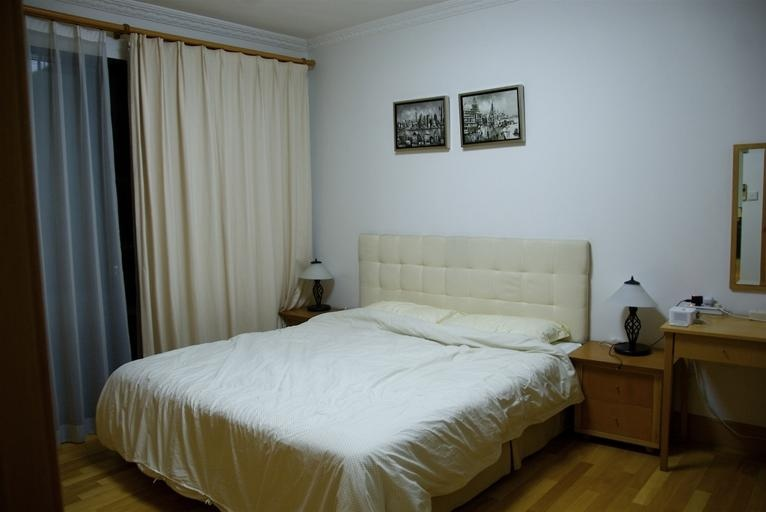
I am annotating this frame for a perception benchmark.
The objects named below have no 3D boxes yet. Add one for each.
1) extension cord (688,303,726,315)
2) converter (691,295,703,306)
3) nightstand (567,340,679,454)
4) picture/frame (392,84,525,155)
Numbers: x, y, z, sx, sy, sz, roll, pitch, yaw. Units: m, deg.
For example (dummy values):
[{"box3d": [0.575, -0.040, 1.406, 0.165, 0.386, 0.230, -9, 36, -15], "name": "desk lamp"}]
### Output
[{"box3d": [2.246, 0.370, 3.847, 0.263, 0.062, 0.118, -2, 8, -7], "name": "extension cord"}, {"box3d": [2.200, 0.305, 3.902, 0.069, 0.071, 0.068, 5, 12, 20], "name": "converter"}, {"box3d": [1.752, 0.966, 4.166, 0.738, 0.796, 0.624, 2, 4, 33], "name": "nightstand"}, {"box3d": [0.635, -1.170, 4.845, 1.255, 0.495, 0.077, 4, 10, 35], "name": "picture/frame"}]
